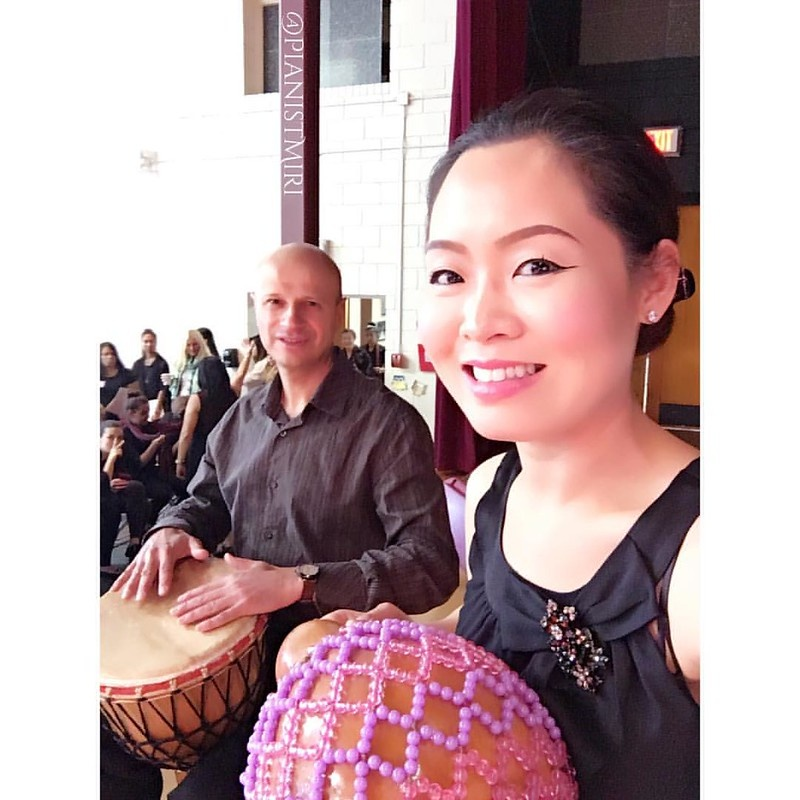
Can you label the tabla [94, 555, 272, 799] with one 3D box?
[{"bbox_3d":[-0.284,0.357,1.101,0.247,0.251,0.245,12,19,41],"label":"tabla"}]
